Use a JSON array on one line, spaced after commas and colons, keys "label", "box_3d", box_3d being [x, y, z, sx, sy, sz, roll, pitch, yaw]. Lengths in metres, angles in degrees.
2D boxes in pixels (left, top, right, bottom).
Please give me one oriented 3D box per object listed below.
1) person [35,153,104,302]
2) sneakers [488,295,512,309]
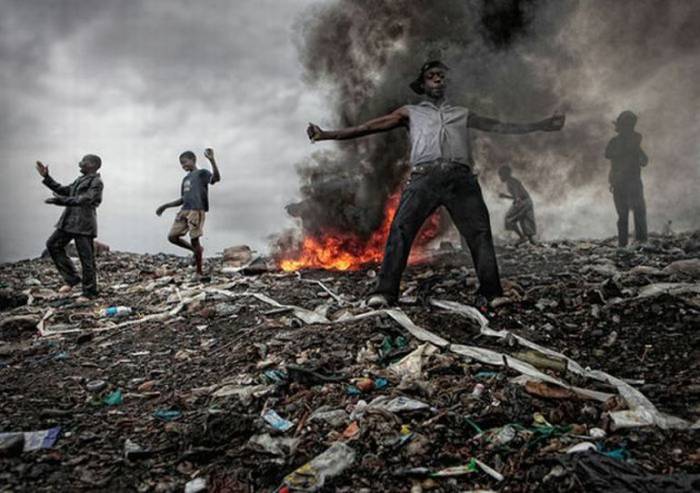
[{"label": "person", "box_3d": [-4.865, -0.377, 8.265, 1.003, 2.516, 0.791, -5, 5, -2]}, {"label": "sneakers", "box_3d": [1.821, 0.661, 5.592, 0.198, 0.052, 0.143, -4, 14, -17]}]
